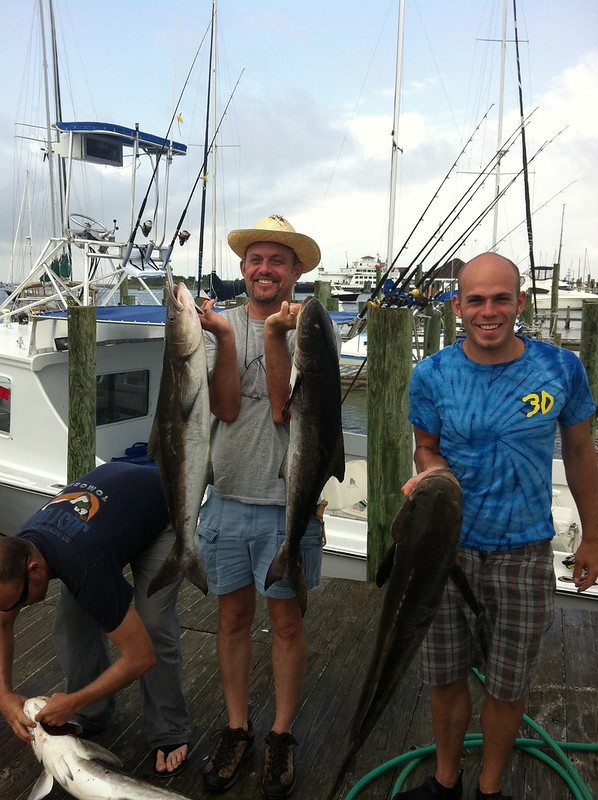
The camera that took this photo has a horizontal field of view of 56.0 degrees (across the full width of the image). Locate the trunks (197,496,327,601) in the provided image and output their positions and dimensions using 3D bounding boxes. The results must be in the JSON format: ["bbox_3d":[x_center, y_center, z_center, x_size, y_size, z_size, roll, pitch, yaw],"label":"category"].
[{"bbox_3d":[-0.124,0.511,2.155,0.512,0.512,0.345,5,-5,6],"label":"trunks"}]

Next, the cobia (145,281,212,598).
[{"bbox_3d":[-0.361,0.134,1.656,0.192,0.923,0.281,-1,4,-10],"label":"cobia"}]

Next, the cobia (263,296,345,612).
[{"bbox_3d":[0.033,0.195,1.702,0.238,0.962,0.344,-2,4,-17],"label":"cobia"}]

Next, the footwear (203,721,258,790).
[{"bbox_3d":[-0.247,1.279,2.042,0.082,0.111,0.253,-5,-9,13],"label":"footwear"}]

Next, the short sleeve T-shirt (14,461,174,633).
[{"bbox_3d":[-0.621,0.413,1.982,0.510,0.169,0.559,14,39,27],"label":"short sleeve T-shirt"}]

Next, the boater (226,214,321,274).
[{"bbox_3d":[-0.097,-0.559,2.036,0.339,0.176,0.304,-1,4,-1],"label":"boater"}]

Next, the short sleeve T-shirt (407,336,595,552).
[{"bbox_3d":[0.609,0.128,1.691,0.534,0.621,0.220,0,4,8],"label":"short sleeve T-shirt"}]

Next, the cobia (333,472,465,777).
[{"bbox_3d":[0.355,0.846,2.029,0.191,1.155,0.243,20,5,17],"label":"cobia"}]
